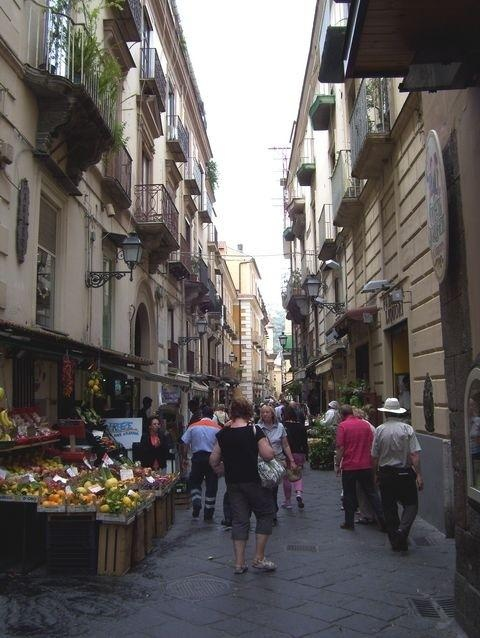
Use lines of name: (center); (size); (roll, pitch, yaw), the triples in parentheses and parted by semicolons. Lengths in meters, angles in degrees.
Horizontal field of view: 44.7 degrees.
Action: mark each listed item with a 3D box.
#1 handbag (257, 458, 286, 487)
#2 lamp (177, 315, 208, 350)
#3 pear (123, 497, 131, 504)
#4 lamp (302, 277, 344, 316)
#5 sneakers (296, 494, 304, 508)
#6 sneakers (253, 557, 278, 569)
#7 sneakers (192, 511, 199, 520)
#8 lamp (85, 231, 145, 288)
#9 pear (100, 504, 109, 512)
handbag: (0.302, 1.454, 5.491); (0.158, 0.275, 0.329); (-10, -14, 34)
lamp: (-1.760, 0.494, 22.494); (1.016, 2.029, 0.793); (-3, -5, 12)
pear: (-1.054, 1.704, 5.454); (0.074, 0.062, 0.144); (-1, -15, -13)
lamp: (2.564, -0.823, 17.584); (1.006, 0.573, 1.766); (2, -56, 21)
sneakers: (0.908, 2.854, 8.940); (0.068, 0.257, 0.093); (-5, 24, 8)
sneakers: (0.219, 2.206, 5.269); (0.175, 0.149, 0.105); (0, -6, 2)
sneakers: (-0.636, 2.765, 8.211); (0.069, 0.165, 0.126); (0, -5, 4)
lamp: (-2.326, -1.058, 10.839); (0.893, 1.563, 0.467); (7, -40, -10)
pear: (-1.214, 1.704, 5.215); (0.073, 0.076, 0.103); (5, -16, -34)
